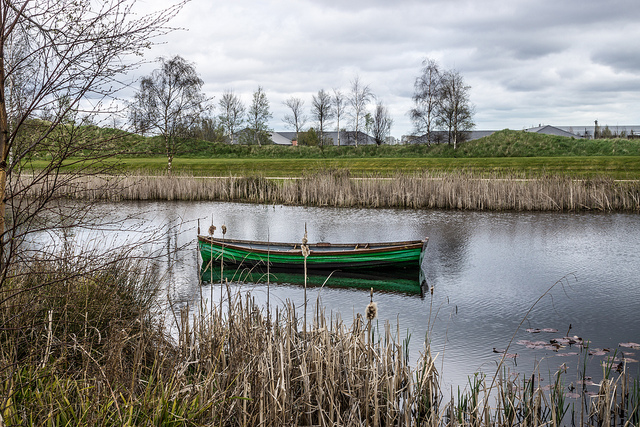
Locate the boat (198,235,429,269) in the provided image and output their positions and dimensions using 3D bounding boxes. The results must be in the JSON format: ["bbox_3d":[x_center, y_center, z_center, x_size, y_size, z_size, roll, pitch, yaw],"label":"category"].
[{"bbox_3d":[-0.157,0.930,16.716,3.332,0.669,0.798,0,3,7],"label":"boat"}]
